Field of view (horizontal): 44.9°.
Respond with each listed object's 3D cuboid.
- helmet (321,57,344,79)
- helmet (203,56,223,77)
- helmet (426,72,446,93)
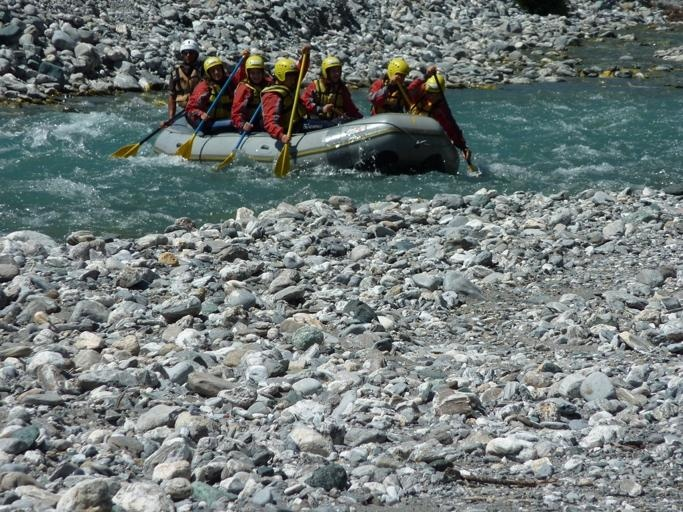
[{"bbox_3d":[-0.075,-3.327,14.509,0.515,0.365,0.570,-9,15,-16],"label":"helmet"},{"bbox_3d":[-2.274,-3.479,15.117,0.353,0.381,0.347,-15,60,-18],"label":"helmet"},{"bbox_3d":[1.643,-3.022,14.455,0.390,0.214,0.470,19,-2,-2],"label":"helmet"}]
